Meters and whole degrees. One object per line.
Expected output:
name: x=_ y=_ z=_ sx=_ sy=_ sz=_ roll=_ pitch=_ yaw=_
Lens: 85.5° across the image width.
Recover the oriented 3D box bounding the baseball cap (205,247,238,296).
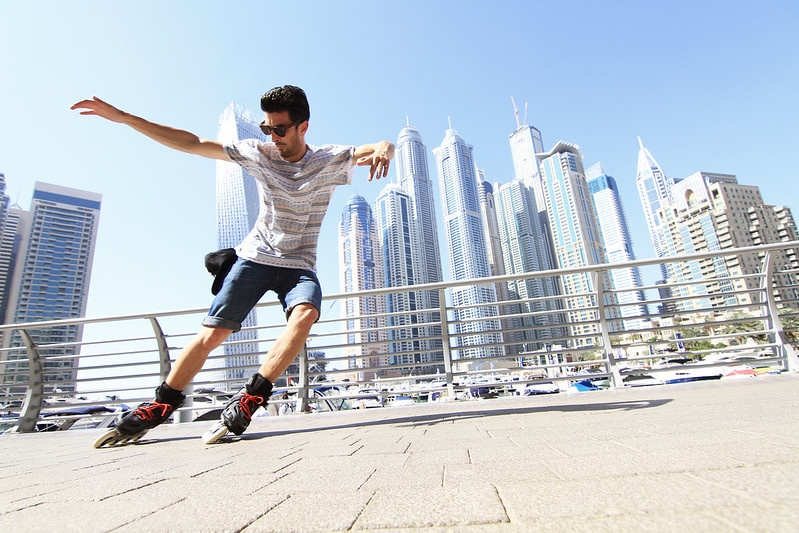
baseball cap: x=-1.171 y=0.048 z=2.872 sx=0.101 sy=0.283 sz=0.211 roll=15 pitch=-23 yaw=28

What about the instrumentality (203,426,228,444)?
instrumentality: x=-1.073 y=0.986 z=2.512 sx=0.094 sy=0.034 sz=0.133 roll=-38 pitch=-24 yaw=5

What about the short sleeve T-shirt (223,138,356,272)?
short sleeve T-shirt: x=-0.809 y=-0.469 z=3.017 sx=1.031 sy=0.936 sz=0.319 roll=4 pitch=7 yaw=-39

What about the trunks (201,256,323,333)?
trunks: x=-0.879 y=0.164 z=2.774 sx=0.479 sy=0.424 sz=0.212 roll=12 pitch=-48 yaw=4

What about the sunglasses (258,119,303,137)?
sunglasses: x=-0.818 y=-0.912 z=2.880 sx=0.152 sy=0.151 sz=0.049 roll=10 pitch=-59 yaw=11

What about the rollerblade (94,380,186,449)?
rollerblade: x=-1.594 y=0.922 z=2.773 sx=0.163 sy=0.221 sz=0.509 roll=18 pitch=-2 yaw=15

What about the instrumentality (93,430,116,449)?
instrumentality: x=-1.814 y=1.072 z=2.662 sx=0.106 sy=0.103 sz=0.092 roll=9 pitch=-21 yaw=-41
